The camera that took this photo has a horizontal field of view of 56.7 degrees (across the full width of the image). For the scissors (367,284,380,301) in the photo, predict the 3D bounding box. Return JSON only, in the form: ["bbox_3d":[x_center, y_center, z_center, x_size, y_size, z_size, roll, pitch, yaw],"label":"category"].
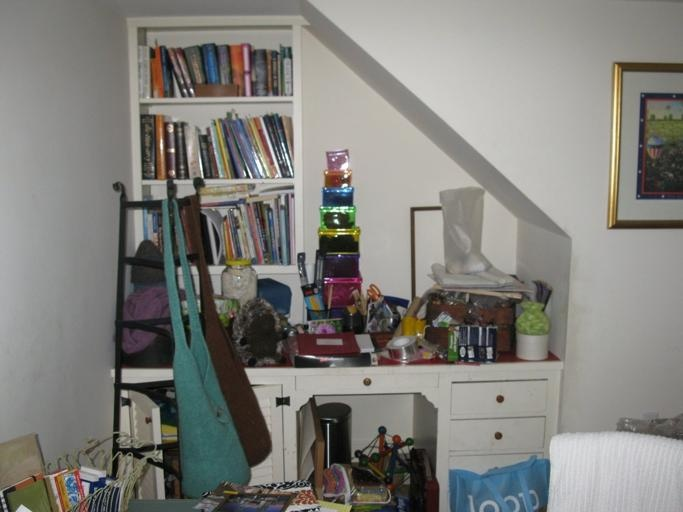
[{"bbox_3d":[0.164,0.190,3.267,0.054,0.104,0.054,-4,-25,8],"label":"scissors"}]

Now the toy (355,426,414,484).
[{"bbox_3d":[0.218,1.052,3.349,0.243,0.170,0.348,-5,-13,6],"label":"toy"}]

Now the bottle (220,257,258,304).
[{"bbox_3d":[-0.480,0.121,3.067,0.182,0.216,0.156,-3,3,-26],"label":"bottle"}]

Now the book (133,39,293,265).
[{"bbox_3d":[-0.632,-0.519,3.099,0.916,1.107,0.246,0,3,-5],"label":"book"}]
